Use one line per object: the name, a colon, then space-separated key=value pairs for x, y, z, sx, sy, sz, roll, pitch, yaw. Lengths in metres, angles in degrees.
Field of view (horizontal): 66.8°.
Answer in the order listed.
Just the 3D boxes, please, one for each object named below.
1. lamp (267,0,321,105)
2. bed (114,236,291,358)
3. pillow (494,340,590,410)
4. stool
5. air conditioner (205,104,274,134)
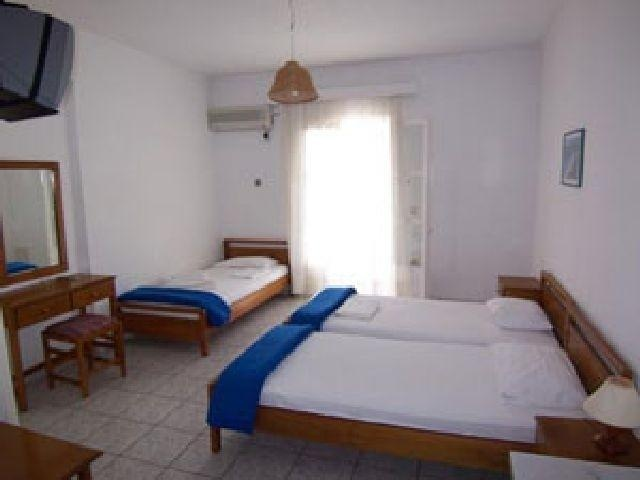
lamp: x=-0.362 y=-2.074 z=5.459 sx=0.488 sy=1.037 sz=1.718 roll=-4 pitch=14 yaw=-5
bed: x=-1.275 y=0.628 z=6.229 sx=1.084 sy=0.745 sz=1.818 roll=1 pitch=7 yaw=16
pillow: x=1.626 y=1.028 z=3.637 sx=0.410 sy=0.113 sz=0.413 roll=2 pitch=17 yaw=9
stool: x=-2.337 y=0.998 z=4.906 sx=0.687 sy=0.836 sz=0.850 roll=1 pitch=9 yaw=9
air conditioner: x=-1.214 y=-1.868 z=7.518 sx=1.030 sy=0.406 sz=0.109 roll=-3 pitch=14 yaw=-2
